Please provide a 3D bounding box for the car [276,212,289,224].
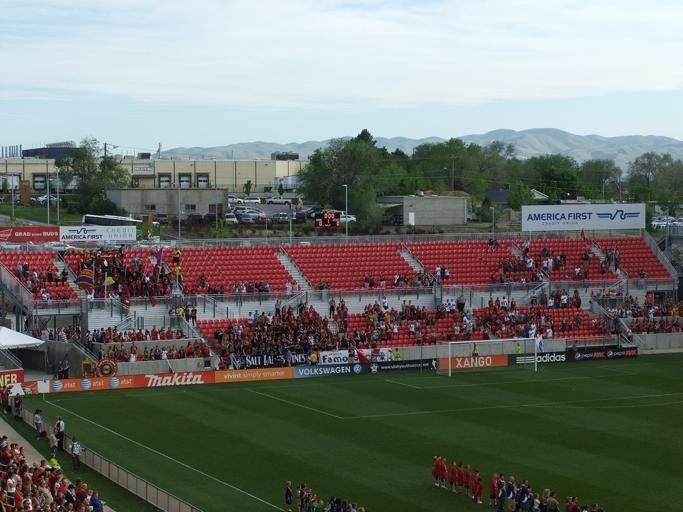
[{"bbox_3d":[-6.499,-3.790,153.652,1.240,0.776,4.840,-3,6,-4],"label":"car"}]
